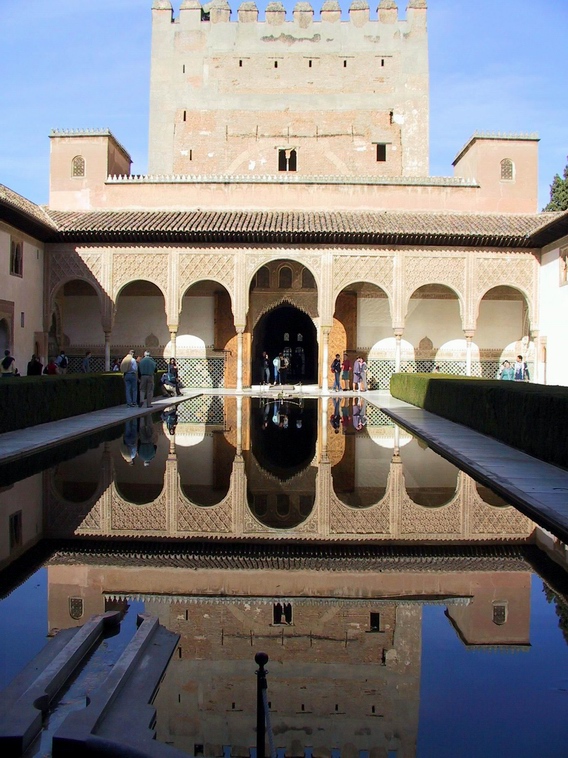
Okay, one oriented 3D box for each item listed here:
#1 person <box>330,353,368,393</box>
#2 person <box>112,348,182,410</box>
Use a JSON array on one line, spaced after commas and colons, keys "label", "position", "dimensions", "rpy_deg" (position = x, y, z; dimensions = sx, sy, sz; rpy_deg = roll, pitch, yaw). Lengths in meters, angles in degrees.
[{"label": "person", "position": [1.730, -0.198, 19.757], "dimensions": [0.886, 1.204, 0.434], "rpy_deg": [0, -6, -8]}, {"label": "person", "position": [-2.891, 0.011, 15.211], "dimensions": [1.100, 1.355, 0.444], "rpy_deg": [3, 11, 6]}]
